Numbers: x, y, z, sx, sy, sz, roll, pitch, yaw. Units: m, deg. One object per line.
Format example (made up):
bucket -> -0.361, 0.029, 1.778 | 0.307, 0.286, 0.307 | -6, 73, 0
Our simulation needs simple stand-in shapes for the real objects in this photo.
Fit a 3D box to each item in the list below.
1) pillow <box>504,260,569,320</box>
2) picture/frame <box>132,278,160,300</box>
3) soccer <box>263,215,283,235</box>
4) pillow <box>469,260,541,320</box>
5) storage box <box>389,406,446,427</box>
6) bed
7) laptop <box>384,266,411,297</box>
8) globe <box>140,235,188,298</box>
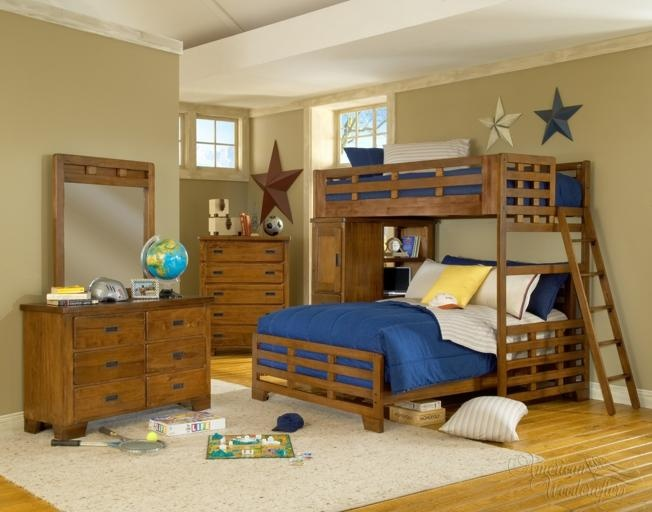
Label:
pillow -> 1.848, 0.295, 4.672 | 0.178, 0.454, 0.581 | 20, -3, -38
picture/frame -> -1.317, 0.232, 4.052 | 0.198, 0.106, 0.170 | 0, 3, -19
soccer -> -0.673, -0.407, 7.165 | 0.307, 0.247, 0.258 | 2, 1, 3
pillow -> 1.495, 0.288, 4.542 | 0.187, 0.373, 0.596 | 28, -3, -27
storage box -> 0.691, 1.145, 3.967 | 0.224, 0.057, 0.197 | 0, 1, -36
bed -> 0.798, 0.187, 4.868 | 2.567, 2.049, 2.476 | 1, -1, -32
laptop -> 0.753, 0.275, 5.905 | 0.439, 0.295, 0.049 | 0, -1, -11
globe -> -1.232, 0.085, 4.279 | 0.398, 0.366, 0.298 | 2, 2, -21
